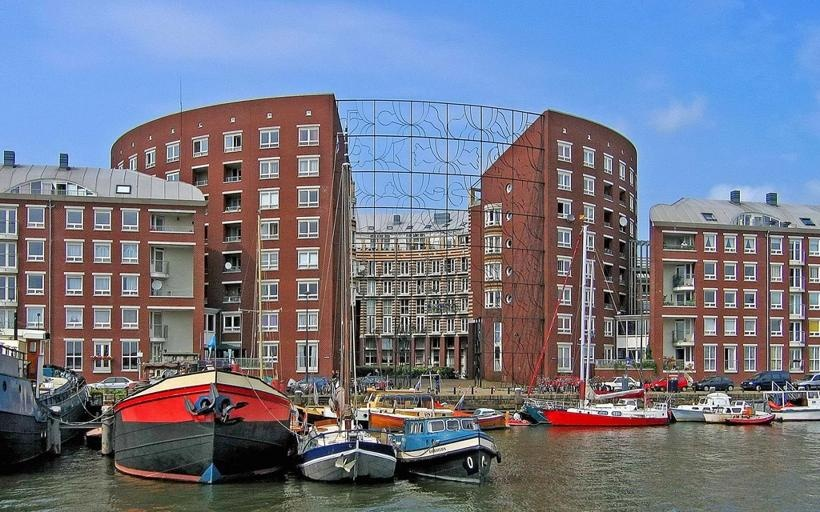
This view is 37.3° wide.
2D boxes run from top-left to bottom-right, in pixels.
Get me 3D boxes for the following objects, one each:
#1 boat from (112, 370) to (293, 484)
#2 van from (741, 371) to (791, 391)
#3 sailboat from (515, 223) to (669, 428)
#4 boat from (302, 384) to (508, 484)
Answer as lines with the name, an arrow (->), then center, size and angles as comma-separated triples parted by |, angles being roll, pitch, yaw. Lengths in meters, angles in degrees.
boat -> -17.238, 14.558, 100.032 | 14.442, 8.304, 24.749 | 1, -13, -12
van -> 39.166, 13.554, 133.060 | 4.013, 1.712, 2.319 | 0, -6, 0
sailboat -> 18.045, 6.818, 120.886 | 17.366, 20.533, 5.218 | 4, -8, -27
boat -> -0.803, 12.487, 96.711 | 14.344, 4.268, 5.210 | -4, -34, 11
